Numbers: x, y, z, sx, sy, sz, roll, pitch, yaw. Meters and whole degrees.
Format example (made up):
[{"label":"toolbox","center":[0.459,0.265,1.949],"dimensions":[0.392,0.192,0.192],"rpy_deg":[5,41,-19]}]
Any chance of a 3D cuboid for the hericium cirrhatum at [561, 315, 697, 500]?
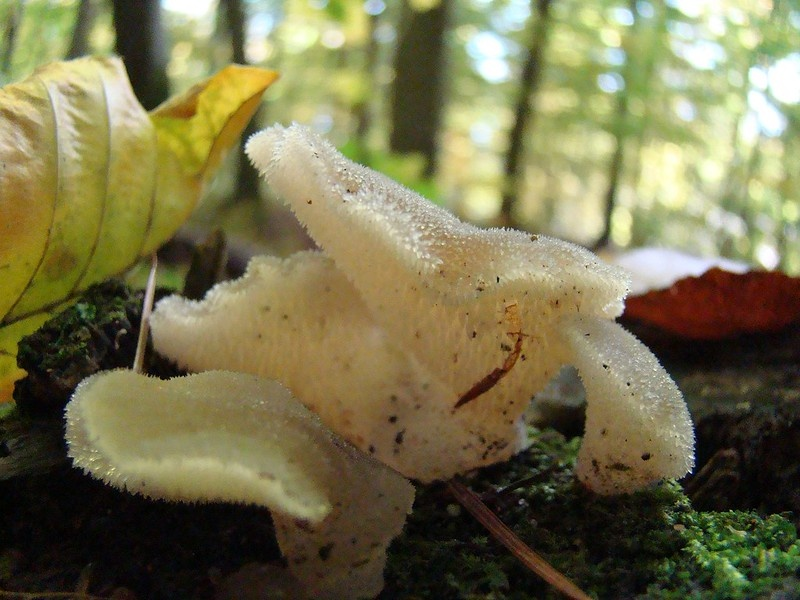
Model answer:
[{"label":"hericium cirrhatum","center":[0.484,0.180,1.794],"dimensions":[0.122,0.281,0.360],"rpy_deg":[-30,106,-52]}]
